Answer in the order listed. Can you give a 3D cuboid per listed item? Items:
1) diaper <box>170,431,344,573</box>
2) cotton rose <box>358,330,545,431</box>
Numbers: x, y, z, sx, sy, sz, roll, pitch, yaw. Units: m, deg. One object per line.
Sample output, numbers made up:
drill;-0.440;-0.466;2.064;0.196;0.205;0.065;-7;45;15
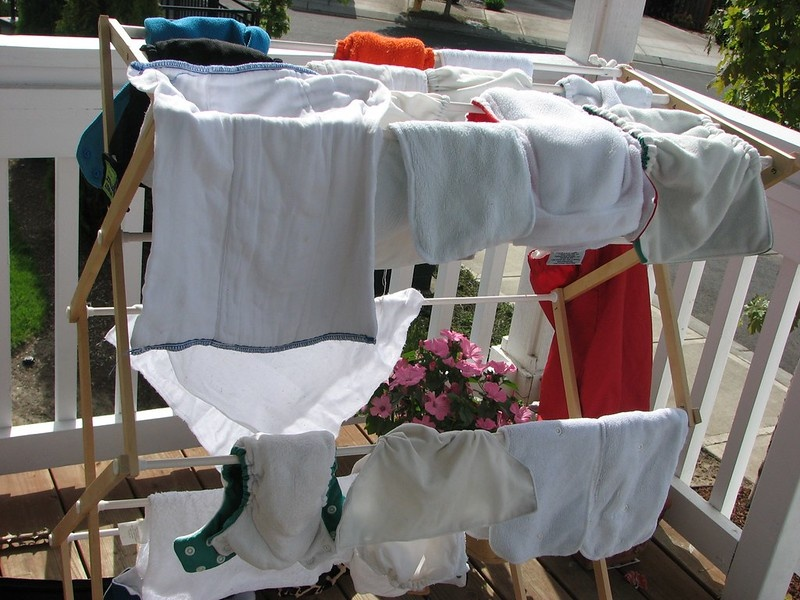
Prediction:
diaper;-0.262;0.390;1.441;0.317;0.272;0.085;2;21;-13
cotton rose;0.143;0.252;2.168;0.337;0.317;0.428;-12;28;-37
